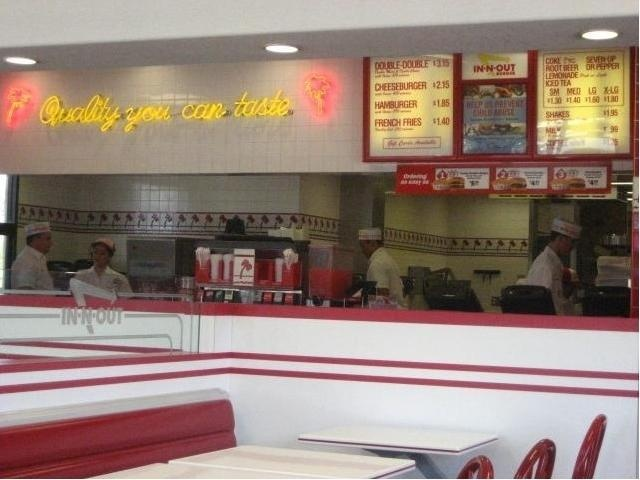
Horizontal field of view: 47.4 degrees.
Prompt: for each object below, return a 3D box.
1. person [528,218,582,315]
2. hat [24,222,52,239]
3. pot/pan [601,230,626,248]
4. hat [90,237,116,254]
[{"bbox_3d":[2.047,0.272,6.364,0.419,0.906,1.169,1,5,28],"label":"person"},{"bbox_3d":[-2.498,-0.093,6.456,0.193,0.109,0.190,0,0,6],"label":"hat"},{"bbox_3d":[2.816,0.004,6.967,0.246,0.131,0.066,2,5,37],"label":"pot/pan"},{"bbox_3d":[-1.950,0.055,6.541,0.170,0.188,0.229,2,2,24],"label":"hat"}]
